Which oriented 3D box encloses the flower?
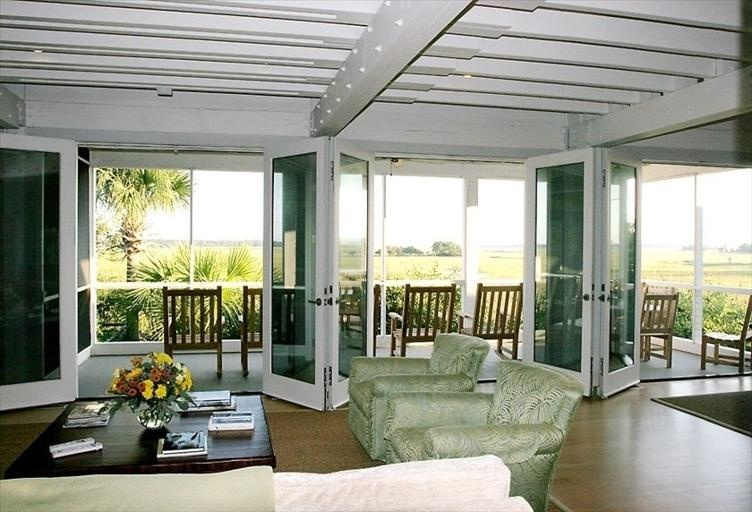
[{"bbox_3d":[-1.793,1.011,4.442,0.605,0.481,0.596,5,1,22],"label":"flower"}]

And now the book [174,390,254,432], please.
[{"bbox_3d":[-1.345,1.325,4.542,0.415,0.091,0.414,-1,9,-8],"label":"book"}]

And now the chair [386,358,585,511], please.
[{"bbox_3d":[0.720,1.190,3.986,1.216,0.989,1.021,2,-5,-9],"label":"chair"}]

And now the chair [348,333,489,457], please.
[{"bbox_3d":[0.328,1.124,4.785,1.188,0.983,1.095,2,-6,-10],"label":"chair"}]

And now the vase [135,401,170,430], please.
[{"bbox_3d":[-1.791,1.281,4.241,0.225,0.167,0.251,5,5,37],"label":"vase"}]
